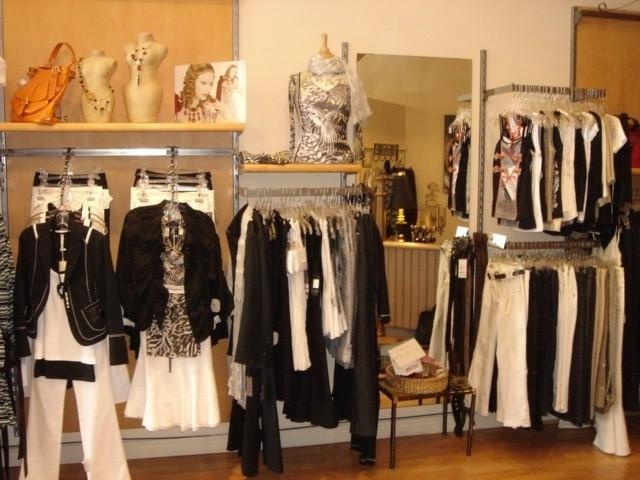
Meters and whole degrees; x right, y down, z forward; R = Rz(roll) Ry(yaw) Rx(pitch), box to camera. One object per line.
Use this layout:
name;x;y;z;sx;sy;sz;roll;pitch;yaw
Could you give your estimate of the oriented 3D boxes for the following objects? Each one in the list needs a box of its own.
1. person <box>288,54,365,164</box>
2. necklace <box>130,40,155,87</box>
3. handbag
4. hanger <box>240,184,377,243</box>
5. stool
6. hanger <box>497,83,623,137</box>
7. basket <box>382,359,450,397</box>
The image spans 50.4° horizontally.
person;0.065;-0.913;4.864;0.544;0.881;0.385;1;-11;-9
necklace;-1.200;-1.167;4.535;0.142;0.267;0.053;-2;14;-12
handbag;-1.885;-1.063;4.567;0.441;0.676;0.351;10;3;34
hanger;-0.063;-0.253;4.813;0.996;0.269;0.535;-1;16;-9
stool;0.788;1.162;5.059;0.713;0.645;0.569;-1;9;-10
hanger;1.756;-1.008;5.243;0.944;0.381;0.432;-3;16;-16
basket;0.688;0.994;4.915;0.480;0.176;0.352;-2;16;-11
